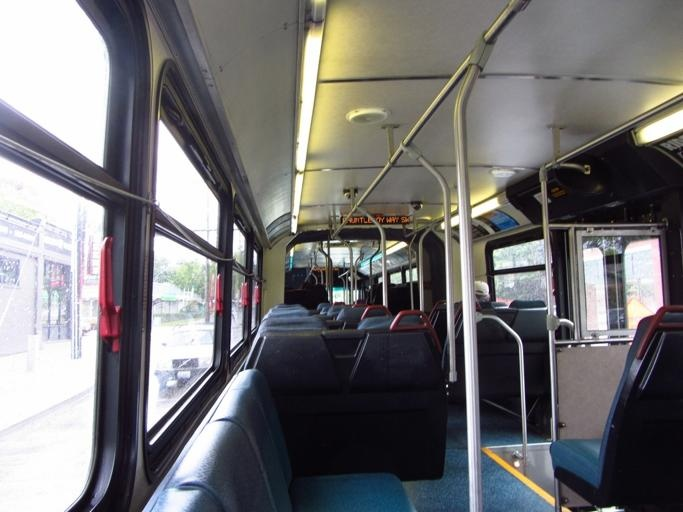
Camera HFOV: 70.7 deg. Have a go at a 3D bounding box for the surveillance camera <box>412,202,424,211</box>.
[{"bbox_3d":[1.382,-0.929,8.893,0.135,0.119,0.149,3,-9,-18],"label":"surveillance camera"}]
